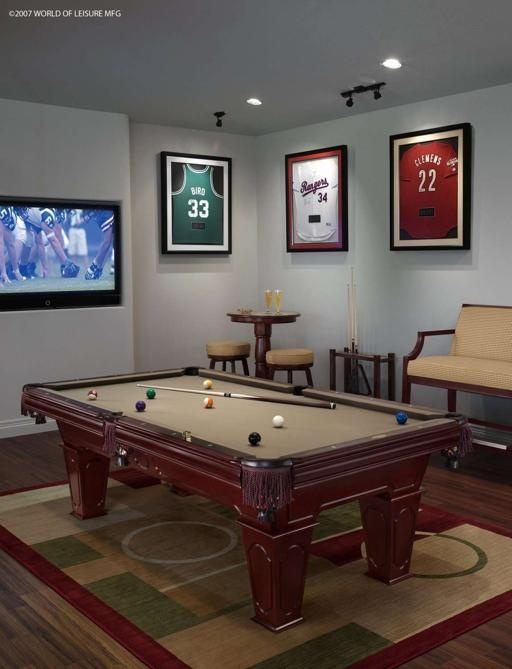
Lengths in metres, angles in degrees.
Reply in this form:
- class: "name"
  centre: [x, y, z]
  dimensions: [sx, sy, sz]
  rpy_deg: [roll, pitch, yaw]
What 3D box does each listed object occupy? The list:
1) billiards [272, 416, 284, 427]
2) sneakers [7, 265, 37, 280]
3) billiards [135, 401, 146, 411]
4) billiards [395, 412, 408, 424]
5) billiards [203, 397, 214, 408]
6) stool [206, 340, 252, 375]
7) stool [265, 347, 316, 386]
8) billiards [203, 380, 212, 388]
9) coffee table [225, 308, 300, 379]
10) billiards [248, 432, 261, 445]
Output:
- class: "billiards"
  centre: [0.077, 0.316, 1.893]
  dimensions: [0.041, 0.040, 0.047]
  rpy_deg: [-11, -25, -2]
- class: "sneakers"
  centre: [-2.169, -0.577, 4.713]
  dimensions: [0.256, 0.201, 0.093]
  rpy_deg: [-6, 18, -32]
- class: "billiards"
  centre: [-0.508, 0.315, 2.220]
  dimensions: [0.043, 0.050, 0.042]
  rpy_deg: [-3, 10, -14]
- class: "billiards"
  centre: [0.551, 0.319, 1.946]
  dimensions: [0.046, 0.041, 0.045]
  rpy_deg: [-1, 3, -10]
- class: "billiards"
  centre: [-0.226, 0.312, 2.343]
  dimensions: [0.041, 0.045, 0.043]
  rpy_deg: [-6, 21, -11]
- class: "stool"
  centre: [-0.302, 0.199, 5.463]
  dimensions: [0.400, 0.419, 0.409]
  rpy_deg: [1, 4, 21]
- class: "stool"
  centre: [0.350, 0.265, 5.098]
  dimensions: [0.407, 0.422, 0.408]
  rpy_deg: [2, 5, 31]
- class: "billiards"
  centre: [-0.276, 0.274, 2.824]
  dimensions: [0.042, 0.047, 0.042]
  rpy_deg: [1, 0, 8]
- class: "coffee table"
  centre: [0.007, 0.075, 5.313]
  dimensions: [0.768, 0.824, 0.709]
  rpy_deg: [-3, 4, -41]
- class: "billiards"
  centre: [-0.012, 0.323, 1.603]
  dimensions: [0.040, 0.046, 0.041]
  rpy_deg: [-2, 17, -1]
